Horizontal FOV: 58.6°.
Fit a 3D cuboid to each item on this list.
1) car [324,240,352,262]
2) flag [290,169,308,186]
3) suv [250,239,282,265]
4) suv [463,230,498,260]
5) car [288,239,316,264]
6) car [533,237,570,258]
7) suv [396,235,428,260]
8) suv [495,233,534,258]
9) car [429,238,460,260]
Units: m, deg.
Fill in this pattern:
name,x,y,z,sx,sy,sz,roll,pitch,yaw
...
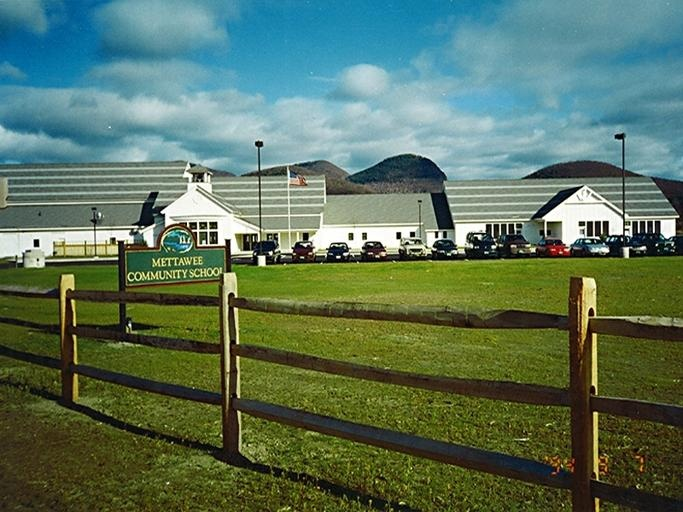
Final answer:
name,x,y,z,sx,sy,sz,roll,pitch,yaw
car,-0.368,-0.341,44.581,1.495,1.372,2.834,-1,-5,0
flag,-5.161,-8.936,70.910,1.768,1.680,3.692,1,9,15
suv,-5.001,-0.294,40.821,1.087,1.126,2.079,-2,-4,5
suv,9.775,-0.737,43.136,1.427,1.571,2.700,-1,-4,-3
car,-2.912,-0.305,44.143,1.564,1.532,2.996,1,7,1
car,14.167,-0.546,41.029,2.178,1.066,1.937,7,12,42
suv,4.664,-0.422,41.351,1.087,1.070,2.188,-1,-4,-5
suv,11.778,-0.682,42.671,1.424,1.297,2.579,-2,-4,-1
car,6.781,-0.413,40.147,1.586,1.042,1.379,2,9,16
